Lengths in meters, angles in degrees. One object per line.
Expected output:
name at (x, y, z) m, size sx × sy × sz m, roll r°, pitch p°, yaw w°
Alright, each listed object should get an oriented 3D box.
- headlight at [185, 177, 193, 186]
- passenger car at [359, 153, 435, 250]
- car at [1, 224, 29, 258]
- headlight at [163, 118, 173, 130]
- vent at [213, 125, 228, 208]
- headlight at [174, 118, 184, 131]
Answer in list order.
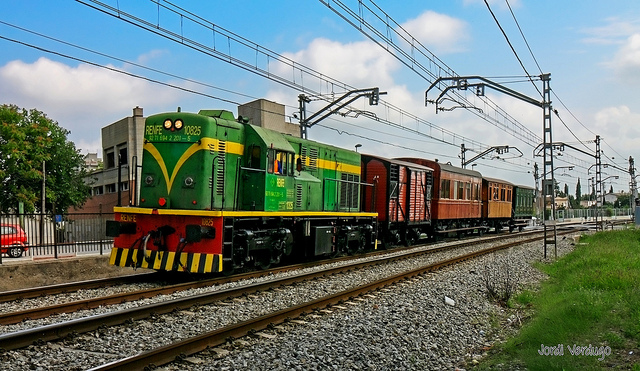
headlight at (-4.486, -0.114, 16.773) m, size 0.259 × 0.250 × 0.075 m, roll -3°, pitch -11°, yaw 15°
passenger car at (4.478, 1.144, 28.562) m, size 2.885 × 4.903 × 7.743 m, roll -5°, pitch -6°, yaw 30°
car at (-13.872, 2.477, 22.098) m, size 0.791 × 1.580 × 3.995 m, roll 3°, pitch -8°, yaw -33°
headlight at (-5.325, -2.129, 17.183) m, size 0.374 × 0.359 × 0.126 m, roll -3°, pitch -2°, yaw 9°
vent at (-3.460, -0.647, 17.179) m, size 0.526 × 2.863 × 0.373 m, roll 3°, pitch -8°, yaw -36°
headlight at (-4.920, -2.104, 17.068) m, size 0.367 × 0.356 × 0.122 m, roll 1°, pitch -5°, yaw 22°
